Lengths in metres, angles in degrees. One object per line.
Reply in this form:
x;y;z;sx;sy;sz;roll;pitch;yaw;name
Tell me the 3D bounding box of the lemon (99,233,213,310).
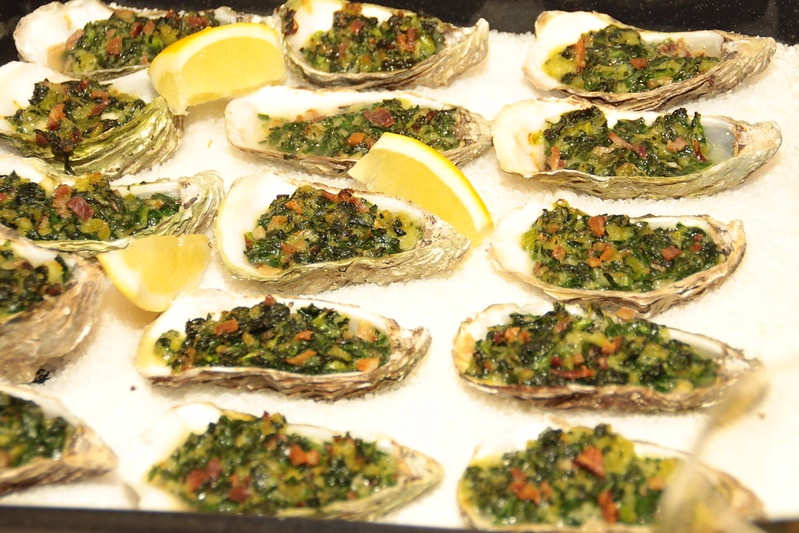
-1.080;0.024;3.481;0.461;0.242;0.298;-25;64;-10;lemon
